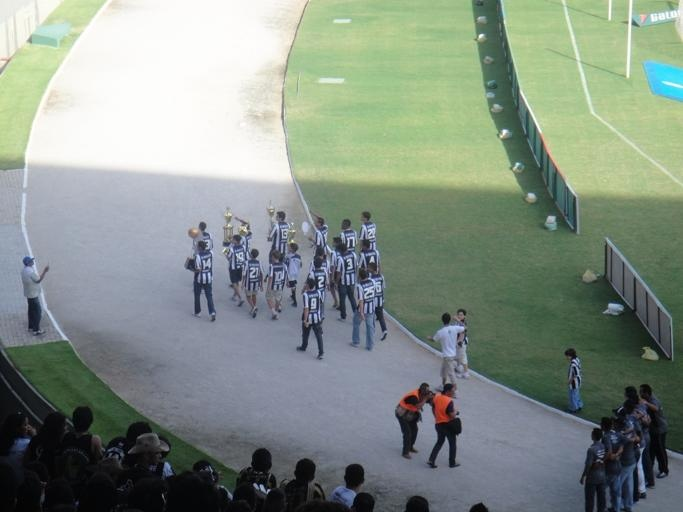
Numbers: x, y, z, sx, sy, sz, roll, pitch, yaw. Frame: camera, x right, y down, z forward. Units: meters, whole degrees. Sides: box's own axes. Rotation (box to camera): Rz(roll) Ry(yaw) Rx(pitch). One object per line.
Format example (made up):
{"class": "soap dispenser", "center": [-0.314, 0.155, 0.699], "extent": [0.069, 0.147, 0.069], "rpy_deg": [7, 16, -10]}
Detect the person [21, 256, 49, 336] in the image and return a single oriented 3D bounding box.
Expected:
{"class": "person", "center": [-9.622, 1.180, 37.121], "extent": [0.691, 2.443, 1.068], "rpy_deg": [-7, 18, -15]}

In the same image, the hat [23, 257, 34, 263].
{"class": "hat", "center": [-9.750, 0.112, 36.888], "extent": [0.367, 0.164, 0.489], "rpy_deg": [1, 7, -4]}

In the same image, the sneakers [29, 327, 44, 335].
{"class": "sneakers", "center": [-9.538, 2.392, 37.112], "extent": [0.485, 0.196, 0.188], "rpy_deg": [-13, 31, -31]}

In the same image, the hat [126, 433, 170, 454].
{"class": "hat", "center": [-4.466, 4.427, 27.646], "extent": [0.693, 0.265, 0.572], "rpy_deg": [1, 1, -8]}

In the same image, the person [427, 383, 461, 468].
{"class": "person", "center": [2.841, 4.620, 32.573], "extent": [0.863, 2.285, 1.095], "rpy_deg": [0, 17, 5]}

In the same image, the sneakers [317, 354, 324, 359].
{"class": "sneakers", "center": [-0.646, 3.103, 36.353], "extent": [0.185, 0.175, 0.113], "rpy_deg": [10, 20, 8]}

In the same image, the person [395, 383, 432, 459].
{"class": "person", "center": [1.967, 4.483, 32.716], "extent": [0.929, 2.219, 0.771], "rpy_deg": [-1, 17, 2]}

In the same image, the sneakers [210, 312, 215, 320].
{"class": "sneakers", "center": [-4.143, 1.921, 38.055], "extent": [0.179, 0.276, 0.256], "rpy_deg": [-4, 17, -7]}

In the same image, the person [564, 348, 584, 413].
{"class": "person", "center": [6.826, 3.764, 34.780], "extent": [0.682, 2.018, 0.927], "rpy_deg": [10, 37, 20]}
